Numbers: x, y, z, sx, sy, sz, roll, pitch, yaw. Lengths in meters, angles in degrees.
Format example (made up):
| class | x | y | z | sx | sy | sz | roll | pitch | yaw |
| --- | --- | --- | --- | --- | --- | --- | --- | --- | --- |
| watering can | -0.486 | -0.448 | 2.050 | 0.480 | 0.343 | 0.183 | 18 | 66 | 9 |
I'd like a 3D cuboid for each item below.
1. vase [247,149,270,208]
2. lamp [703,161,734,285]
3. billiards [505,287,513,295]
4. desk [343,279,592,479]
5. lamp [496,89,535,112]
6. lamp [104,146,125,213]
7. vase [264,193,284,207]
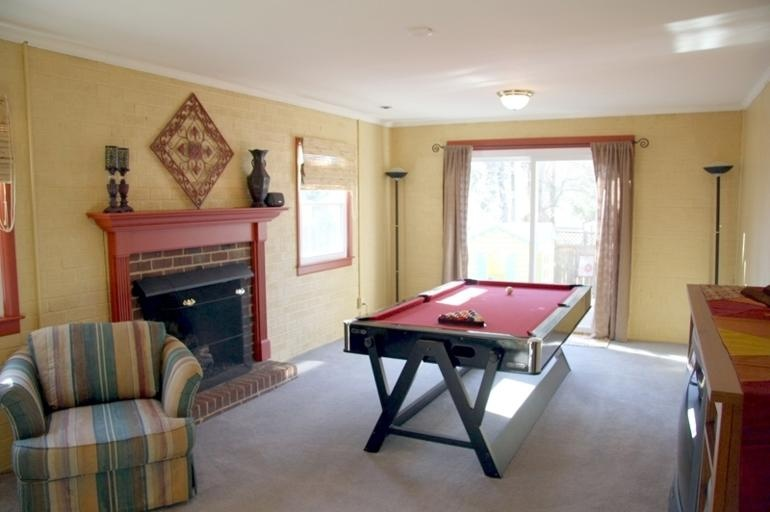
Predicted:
| class | x | y | z | sx | sy | sz | roll | pitch | yaw |
| --- | --- | --- | --- | --- | --- | --- | --- | --- | --- |
| vase | -1.387 | -0.853 | 5.819 | 0.228 | 0.605 | 0.226 | -3 | 15 | -12 |
| lamp | 4.071 | -0.417 | 6.679 | 0.343 | 1.467 | 0.358 | 8 | 16 | 28 |
| billiards | 1.266 | 0.347 | 5.470 | 0.066 | 0.066 | 0.069 | 4 | 17 | 16 |
| desk | 0.727 | 0.839 | 4.608 | 1.442 | 0.995 | 2.398 | 0 | 5 | 24 |
| lamp | 1.415 | -1.728 | 5.879 | 0.380 | 0.191 | 0.258 | 3 | 14 | 11 |
| lamp | -2.347 | -0.678 | 4.614 | 0.159 | 0.546 | 0.304 | -7 | 16 | -25 |
| vase | -1.240 | -0.615 | 5.977 | 0.149 | 0.140 | 0.207 | -1 | 5 | -7 |
